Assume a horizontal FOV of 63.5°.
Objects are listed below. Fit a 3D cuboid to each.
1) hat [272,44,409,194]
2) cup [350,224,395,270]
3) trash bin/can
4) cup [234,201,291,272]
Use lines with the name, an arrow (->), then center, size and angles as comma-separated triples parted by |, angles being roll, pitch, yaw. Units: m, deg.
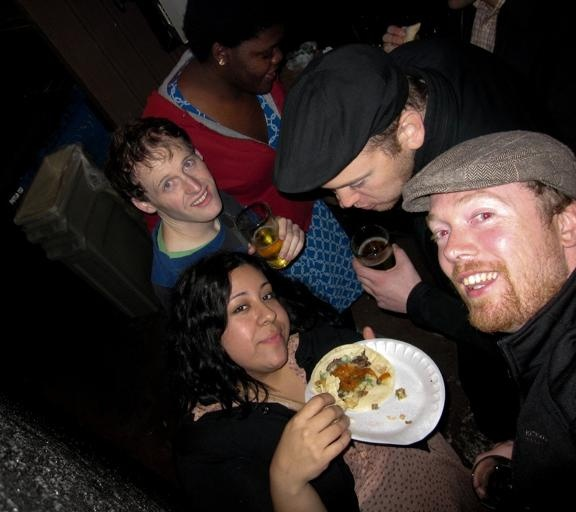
hat -> 0.277, -0.604, 2.321 | 0.495, 0.325, 0.747 | 42, 97, 27
cup -> 0.525, -0.038, 2.930 | 0.183, 0.299, 0.179 | -12, 66, 30
trash bin/can -> -1.751, -0.228, 3.999 | 0.510, 1.519, 0.806 | 12, 68, 25
cup -> -0.145, -0.128, 2.780 | 0.280, 0.319, 0.274 | 0, 54, 0
